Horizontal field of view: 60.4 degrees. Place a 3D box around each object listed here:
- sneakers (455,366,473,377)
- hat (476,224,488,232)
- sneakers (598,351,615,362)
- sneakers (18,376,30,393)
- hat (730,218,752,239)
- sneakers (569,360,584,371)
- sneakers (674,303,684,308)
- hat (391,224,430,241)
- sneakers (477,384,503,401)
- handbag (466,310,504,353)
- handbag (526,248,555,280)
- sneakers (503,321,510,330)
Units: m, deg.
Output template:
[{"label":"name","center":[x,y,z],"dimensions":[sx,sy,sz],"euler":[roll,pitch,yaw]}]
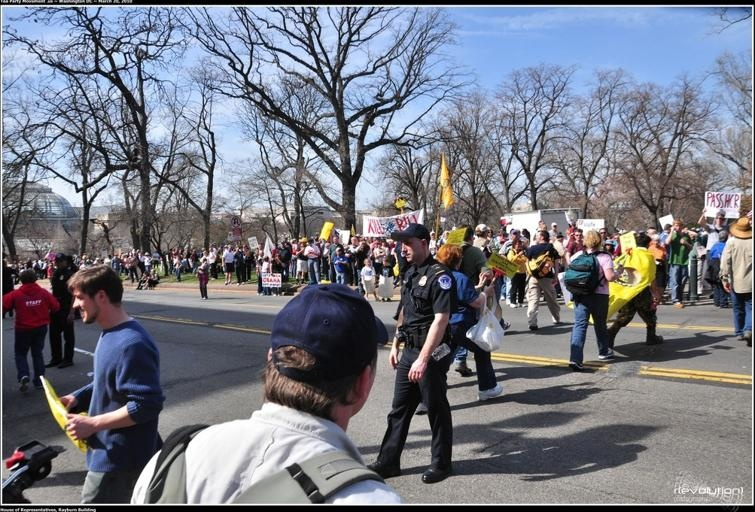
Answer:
[{"label":"sneakers","center":[1.462,1.977,11.122],"dimensions":[0.346,0.169,0.121],"euler":[16,-6,-24]},{"label":"hat","center":[2.313,-0.613,14.401],"dimensions":[0.184,0.129,0.264],"euler":[12,31,32]},{"label":"sneakers","center":[3.904,1.716,11.086],"dimensions":[0.324,0.136,0.125],"euler":[-8,7,-36]},{"label":"sneakers","center":[-6.222,2.248,11.455],"dimensions":[0.151,0.369,0.155],"euler":[21,24,-29]},{"label":"hat","center":[6.606,-0.509,11.770],"dimensions":[0.437,0.164,0.302],"euler":[5,6,-36]},{"label":"sneakers","center":[3.296,1.804,10.741],"dimensions":[0.234,0.187,0.213],"euler":[1,15,18]},{"label":"sneakers","center":[7.225,1.198,15.558],"dimensions":[0.099,0.091,0.212],"euler":[2,-11,-10]},{"label":"hat","center":[0.424,-0.286,8.309],"dimensions":[0.391,0.190,0.237],"euler":[5,-3,-9]},{"label":"sneakers","center":[1.729,2.089,10.008],"dimensions":[0.417,0.193,0.170],"euler":[-17,9,-2]},{"label":"handbag","center":[1.640,0.955,9.381],"dimensions":[0.561,0.698,0.358],"euler":[0,34,26]},{"label":"handbag","center":[3.530,0.196,14.047],"dimensions":[0.632,0.648,0.472],"euler":[7,-8,4]},{"label":"sneakers","center":[2.723,1.470,13.676],"dimensions":[0.156,0.125,0.254],"euler":[3,-2,10]}]
